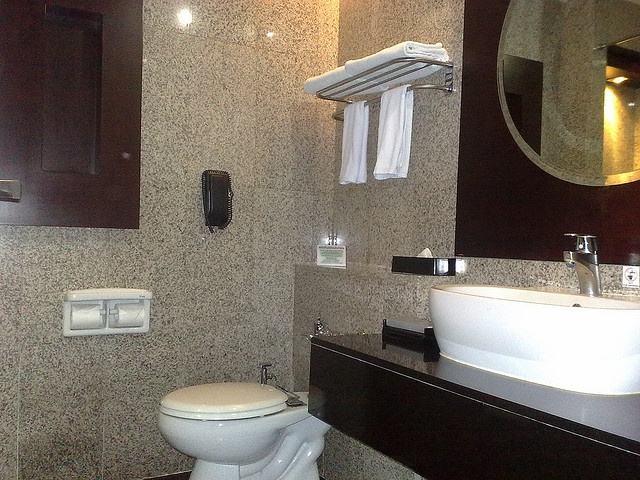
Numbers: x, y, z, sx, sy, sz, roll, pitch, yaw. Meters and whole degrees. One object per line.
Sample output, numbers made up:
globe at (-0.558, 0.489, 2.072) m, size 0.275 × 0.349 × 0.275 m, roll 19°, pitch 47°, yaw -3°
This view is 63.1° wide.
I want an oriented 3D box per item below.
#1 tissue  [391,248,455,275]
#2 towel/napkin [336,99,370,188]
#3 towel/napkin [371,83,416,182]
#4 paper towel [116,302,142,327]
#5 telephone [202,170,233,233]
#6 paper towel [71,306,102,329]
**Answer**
tissue  at (0.384, 0.095, 1.949) m, size 0.239 × 0.068 × 0.122 m, roll -1°, pitch 1°, yaw 15°
towel/napkin at (0.165, -0.455, 2.460) m, size 0.075 × 0.364 × 0.220 m, roll -2°, pitch 2°, yaw -36°
towel/napkin at (0.306, -0.443, 2.156) m, size 0.166 × 0.365 × 0.108 m, roll -1°, pitch 1°, yaw 19°
paper towel at (-0.837, 0.333, 2.306) m, size 0.121 × 0.110 × 0.094 m, roll 7°, pitch -31°, yaw -29°
telephone at (-0.499, -0.194, 2.564) m, size 0.157 × 0.306 × 0.104 m, roll -2°, pitch 1°, yaw -20°
paper towel at (-1.001, 0.328, 2.229) m, size 0.122 × 0.110 × 0.095 m, roll 1°, pitch 5°, yaw -22°
